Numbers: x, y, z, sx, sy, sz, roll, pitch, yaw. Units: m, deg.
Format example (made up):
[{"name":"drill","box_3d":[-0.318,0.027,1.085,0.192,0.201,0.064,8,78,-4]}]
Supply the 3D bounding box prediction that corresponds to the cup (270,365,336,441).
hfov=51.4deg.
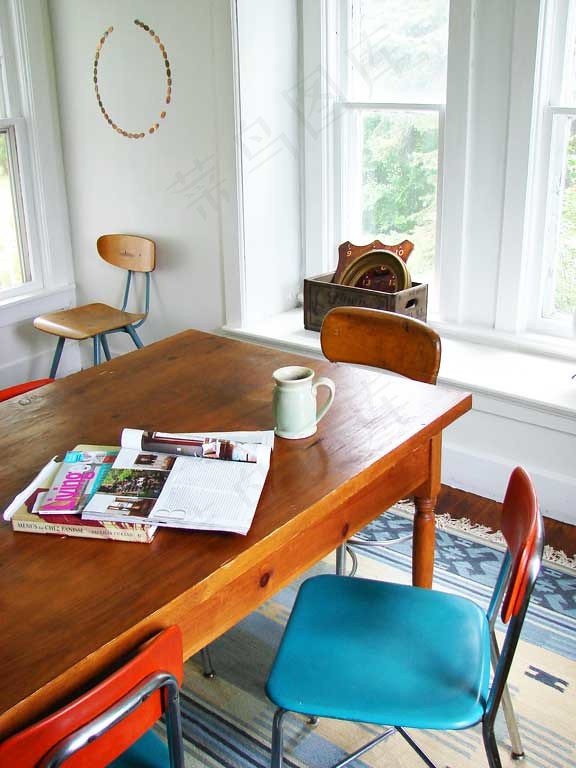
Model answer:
[{"name":"cup","box_3d":[0.013,0.026,1.276,0.169,0.163,0.103,-8,24,-24]}]

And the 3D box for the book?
[{"name":"book","box_3d":[-0.222,0.173,1.007,0.218,0.039,0.232,2,26,14]}]

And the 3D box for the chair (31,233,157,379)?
[{"name":"chair","box_3d":[-1.042,-0.366,3.252,0.480,0.824,0.555,17,27,26]}]
